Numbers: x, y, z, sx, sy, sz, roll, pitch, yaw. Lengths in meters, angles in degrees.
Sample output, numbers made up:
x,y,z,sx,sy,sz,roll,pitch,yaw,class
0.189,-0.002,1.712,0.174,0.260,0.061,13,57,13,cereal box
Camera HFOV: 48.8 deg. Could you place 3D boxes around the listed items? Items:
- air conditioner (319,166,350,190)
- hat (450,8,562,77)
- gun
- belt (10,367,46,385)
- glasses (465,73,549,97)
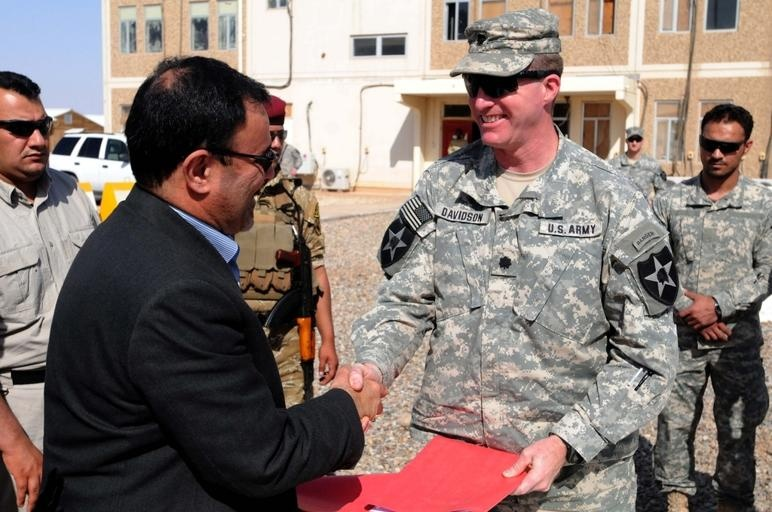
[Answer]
x,y,z,sx,sy,sz,roll,pitch,yaw,class
-1.518,-2.202,24.922,0.973,0.823,0.592,1,0,21,air conditioner
0.571,-1.001,4.031,0.464,0.169,0.331,-19,18,-33,hat
-0.606,0.222,5.208,0.139,1.433,0.523,-4,-7,32,gun
-1.918,0.644,4.556,0.154,0.155,0.046,5,13,-27,belt
0.568,-0.809,4.033,0.250,0.067,0.181,-10,3,-34,glasses
